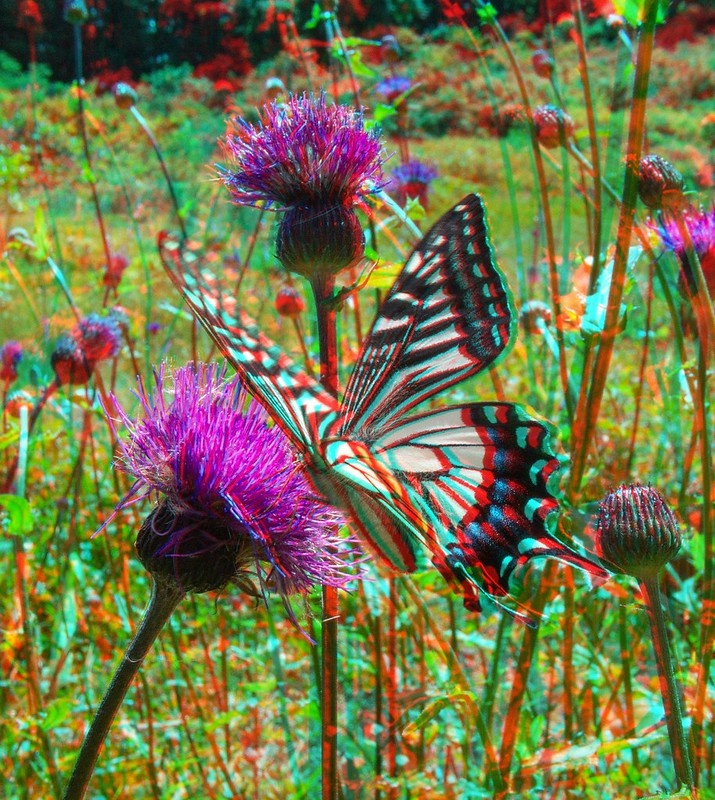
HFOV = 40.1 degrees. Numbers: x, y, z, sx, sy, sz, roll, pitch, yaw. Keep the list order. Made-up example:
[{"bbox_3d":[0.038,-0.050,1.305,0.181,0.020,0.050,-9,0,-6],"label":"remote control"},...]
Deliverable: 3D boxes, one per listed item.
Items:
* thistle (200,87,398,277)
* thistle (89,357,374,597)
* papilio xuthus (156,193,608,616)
[{"bbox_3d":[-0.087,-0.424,1.970,0.325,0.418,0.369,12,-69,36],"label":"thistle"},{"bbox_3d":[-0.231,0.189,1.839,0.518,0.444,0.238,10,-55,-15],"label":"thistle"},{"bbox_3d":[0.120,0.036,2.161,1.298,0.756,0.800,-10,-69,-4],"label":"papilio xuthus"}]
